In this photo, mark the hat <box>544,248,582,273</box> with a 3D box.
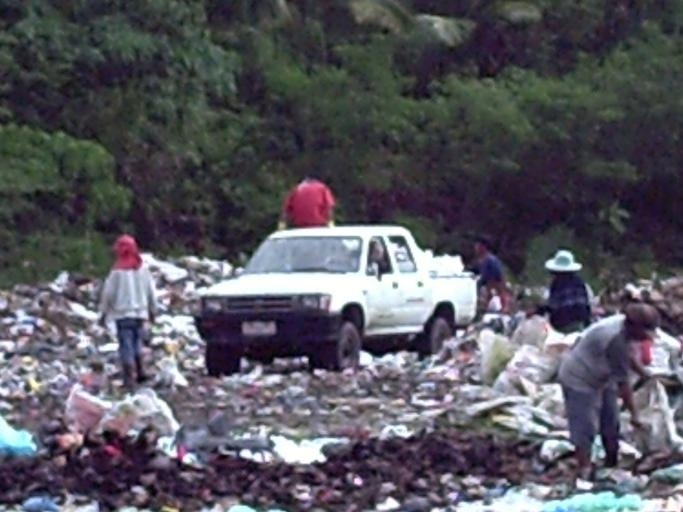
[{"bbox_3d":[3.142,0.097,24.325,0.461,0.190,0.535,2,10,9],"label":"hat"}]

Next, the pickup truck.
[{"bbox_3d":[0.051,0.575,24.212,1.826,1.443,3.525,-5,-6,32],"label":"pickup truck"}]

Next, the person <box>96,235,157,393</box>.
[{"bbox_3d":[-2.875,0.718,22.912,0.767,1.982,0.624,0,5,-8],"label":"person"}]

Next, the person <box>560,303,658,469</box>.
[{"bbox_3d":[3.249,1.664,20.701,1.364,2.289,0.868,7,33,12],"label":"person"}]
